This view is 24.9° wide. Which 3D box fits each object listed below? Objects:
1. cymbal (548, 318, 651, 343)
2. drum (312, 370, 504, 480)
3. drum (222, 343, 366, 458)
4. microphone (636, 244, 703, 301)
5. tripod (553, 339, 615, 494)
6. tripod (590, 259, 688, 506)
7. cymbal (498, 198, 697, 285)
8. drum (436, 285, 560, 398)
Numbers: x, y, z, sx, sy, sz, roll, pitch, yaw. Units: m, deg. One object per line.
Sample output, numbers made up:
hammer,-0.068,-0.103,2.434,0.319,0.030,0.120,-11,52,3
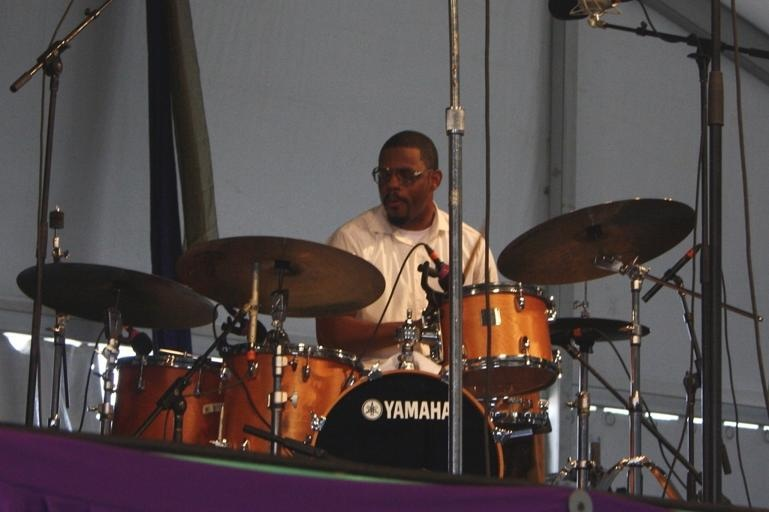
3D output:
cymbal,1.278,0.487,11.051,0.308,0.071,0.323,5,-20,0
drum,0.125,0.983,10.027,1.051,0.576,0.265,-2,-18,9
drum,-0.695,0.933,10.458,0.667,0.621,0.756,-5,-10,20
microphone,1.782,0.127,11.060,0.077,0.457,0.076,31,-15,47
tripod,1.208,1.031,10.856,0.332,0.975,0.324,0,-9,-17
tripod,1.497,0.850,10.371,0.372,1.637,0.483,-3,-7,36
cymbal,1.229,-0.067,10.311,0.672,0.181,0.742,-11,-32,-16
drum,0.648,0.471,10.445,0.586,0.524,0.609,-6,2,-3
